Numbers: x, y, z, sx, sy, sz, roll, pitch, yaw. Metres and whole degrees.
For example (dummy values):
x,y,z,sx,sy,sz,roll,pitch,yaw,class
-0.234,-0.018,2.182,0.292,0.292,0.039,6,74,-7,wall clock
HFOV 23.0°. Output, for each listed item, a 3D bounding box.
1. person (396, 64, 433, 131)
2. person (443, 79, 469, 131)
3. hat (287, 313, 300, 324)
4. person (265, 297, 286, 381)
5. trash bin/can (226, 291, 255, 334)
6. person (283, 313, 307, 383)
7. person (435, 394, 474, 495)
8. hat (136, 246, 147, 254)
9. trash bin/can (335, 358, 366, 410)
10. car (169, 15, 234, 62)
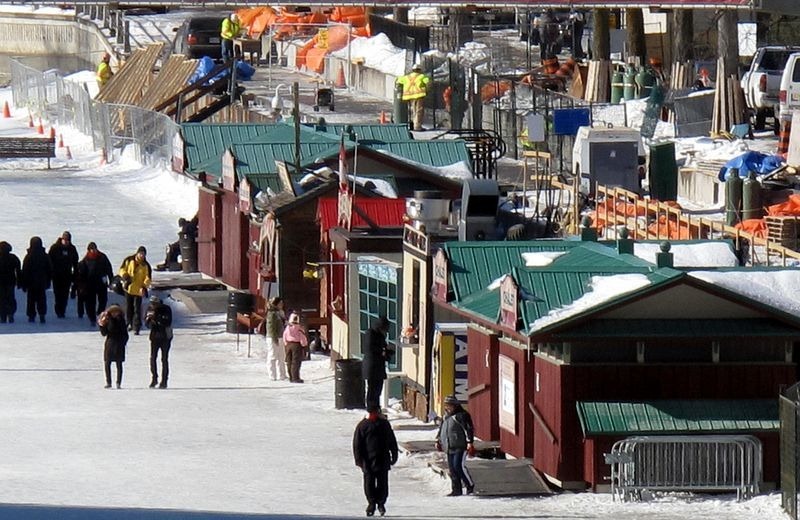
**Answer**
x,y,z,sx,sy,sz,roll,pitch,yaw,class
0.575,-5.888,70.468,1.353,2.643,0.959,3,0,-9,person
2.062,-5.489,70.116,0.591,1.676,1.459,0,3,-13,person
-2.633,1.421,49.307,0.231,0.233,0.259,4,-6,-33,hat
-3.110,1.935,49.426,0.515,2.066,0.543,0,3,-15,person
-4.300,1.410,53.011,0.689,1.120,1.021,0,3,-10,trash bin/can
-2.656,2.154,49.361,0.517,1.731,0.556,1,3,-3,person
1.247,3.948,42.328,0.754,2.122,0.584,2,3,11,person
-7.059,-0.289,53.456,0.196,0.225,0.268,10,-16,-34,hat
-1.241,3.031,47.550,0.880,1.267,0.850,1,2,31,trash bin/can
-8.140,-8.998,81.032,2.299,1.571,5.116,-3,8,-19,car
